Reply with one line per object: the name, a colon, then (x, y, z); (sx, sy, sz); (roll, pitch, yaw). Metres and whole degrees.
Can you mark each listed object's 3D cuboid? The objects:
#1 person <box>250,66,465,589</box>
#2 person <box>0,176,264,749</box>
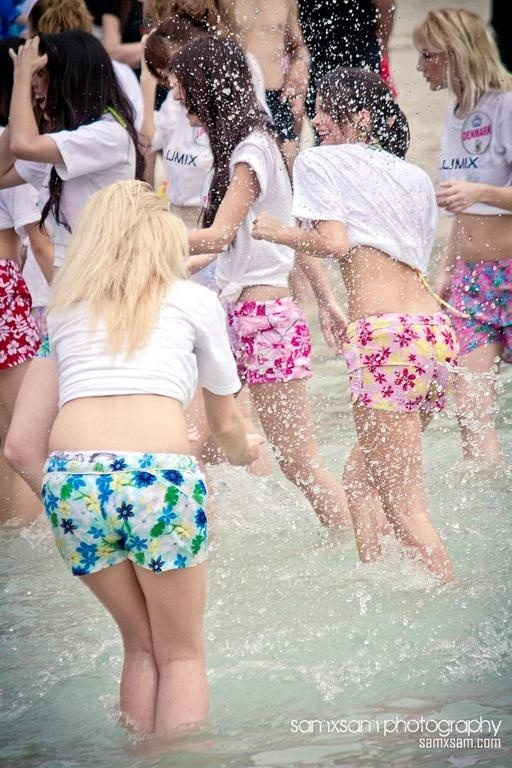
person: (0.346, -0.207, 2.480); (0.485, 1.544, 0.510); (-4, 12, 20)
person: (-0.258, 0.121, 1.793); (0.399, 1.152, 0.569); (-6, 11, 10)
